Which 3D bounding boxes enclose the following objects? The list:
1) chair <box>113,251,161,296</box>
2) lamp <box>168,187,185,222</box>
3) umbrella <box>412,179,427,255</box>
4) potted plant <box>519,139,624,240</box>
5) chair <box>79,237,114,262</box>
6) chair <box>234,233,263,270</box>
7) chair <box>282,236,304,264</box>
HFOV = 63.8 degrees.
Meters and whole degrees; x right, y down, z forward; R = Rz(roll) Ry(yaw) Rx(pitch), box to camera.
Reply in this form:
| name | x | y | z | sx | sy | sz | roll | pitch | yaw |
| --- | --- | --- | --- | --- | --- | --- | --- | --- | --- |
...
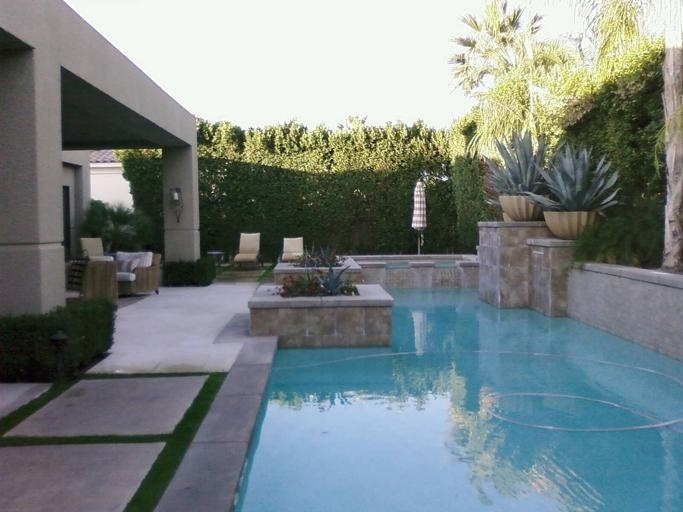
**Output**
| name | x | y | z | sx | sy | sz | roll | pitch | yaw |
| --- | --- | --- | --- | --- | --- | --- | --- | --- | --- |
| chair | -4.087 | 0.357 | 10.845 | 0.734 | 0.898 | 0.884 | 0 | -1 | 9 |
| lamp | -3.840 | -1.172 | 12.808 | 0.304 | 0.812 | 0.207 | -2 | 7 | -19 |
| umbrella | 2.499 | -1.240 | 17.401 | 0.452 | 2.444 | 1.157 | 2 | 7 | 9 |
| potted plant | 3.724 | -1.102 | 9.114 | 1.475 | 1.814 | 1.469 | 0 | 0 | 2 |
| chair | -5.942 | -0.157 | 13.276 | 0.507 | 0.811 | 0.617 | 0 | -9 | -44 |
| chair | -2.899 | -0.207 | 16.813 | 0.644 | 1.173 | 1.191 | 0 | 1 | 3 |
| chair | -1.376 | -0.186 | 15.591 | 0.666 | 1.147 | 0.782 | 0 | -4 | 0 |
